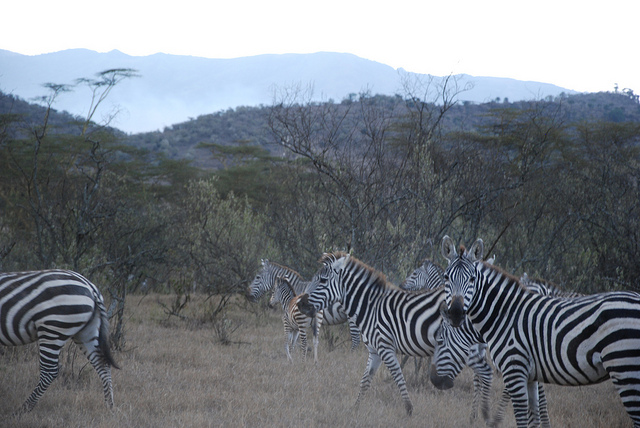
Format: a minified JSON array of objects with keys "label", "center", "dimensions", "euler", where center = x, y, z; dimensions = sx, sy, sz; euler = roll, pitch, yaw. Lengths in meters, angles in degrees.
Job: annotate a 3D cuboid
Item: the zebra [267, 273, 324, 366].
[{"label":"zebra","center":[-0.750,3.075,24.038],"dimensions":[0.699,2.661,2.846],"euler":[-3,1,-29]}]
